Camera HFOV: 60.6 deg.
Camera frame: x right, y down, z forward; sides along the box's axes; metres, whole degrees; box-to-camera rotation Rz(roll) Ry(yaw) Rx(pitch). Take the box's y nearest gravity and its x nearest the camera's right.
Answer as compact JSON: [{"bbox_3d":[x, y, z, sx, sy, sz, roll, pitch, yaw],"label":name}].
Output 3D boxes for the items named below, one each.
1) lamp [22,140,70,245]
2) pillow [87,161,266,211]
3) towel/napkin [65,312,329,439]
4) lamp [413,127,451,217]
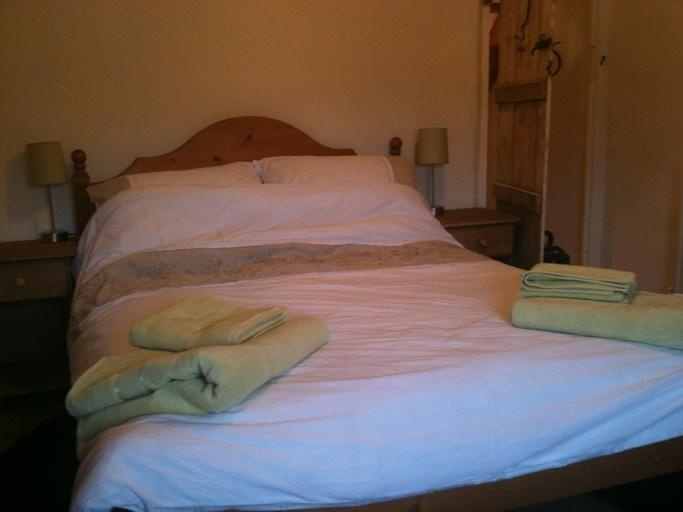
[{"bbox_3d":[-1.650,-0.371,3.310,0.212,0.549,0.297,-8,15,-24],"label":"lamp"},{"bbox_3d":[-0.930,-0.408,3.333,0.959,0.223,0.437,-6,13,-21],"label":"pillow"},{"bbox_3d":[-0.380,0.363,1.725,0.781,0.289,0.383,-7,14,-26],"label":"towel/napkin"},{"bbox_3d":[0.617,-0.554,3.897,0.268,0.568,0.261,-10,14,-37],"label":"lamp"}]
